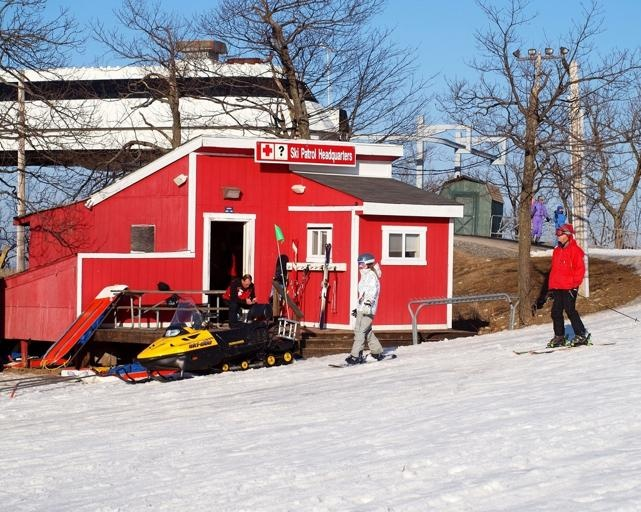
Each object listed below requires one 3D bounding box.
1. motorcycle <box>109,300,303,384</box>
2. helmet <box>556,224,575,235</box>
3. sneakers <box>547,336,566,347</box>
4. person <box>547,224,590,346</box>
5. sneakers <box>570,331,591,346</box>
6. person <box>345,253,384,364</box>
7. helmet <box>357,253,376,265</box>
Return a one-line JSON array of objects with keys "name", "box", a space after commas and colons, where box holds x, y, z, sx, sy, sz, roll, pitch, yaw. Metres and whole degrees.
[{"name": "motorcycle", "box": [-2.210, 1.702, 20.976, 4.259, 1.663, 1.587, 0, -4, -39]}, {"name": "helmet", "box": [4.762, -0.518, 19.159, 0.328, 0.256, 0.252, 5, -2, -1]}, {"name": "sneakers", "box": [4.631, 1.656, 19.319, 0.443, 0.189, 0.147, -2, 8, -23]}, {"name": "person", "box": [4.771, 0.578, 19.199, 0.787, 2.321, 0.736, -2, 7, 13]}, {"name": "sneakers", "box": [5.066, 1.613, 19.133, 0.511, 0.217, 0.167, -5, 1, -37]}, {"name": "person", "box": [0.869, 1.074, 20.114, 0.752, 2.270, 0.536, -3, 7, 1]}, {"name": "helmet", "box": [0.910, 0.050, 19.882, 0.267, 0.211, 0.206, 5, 3, 10]}]
